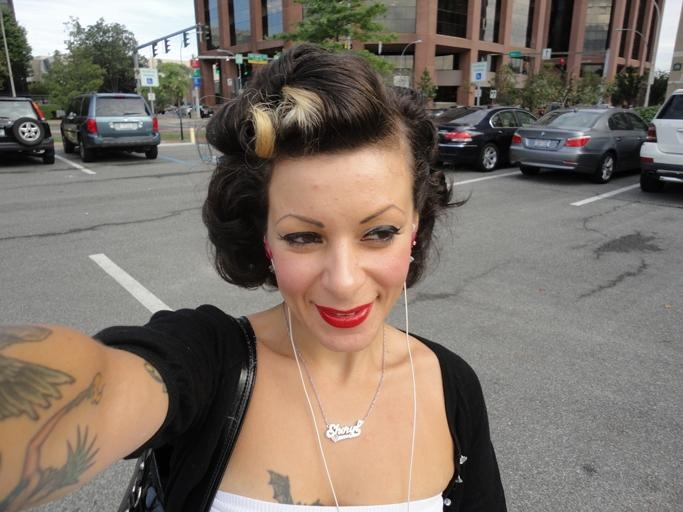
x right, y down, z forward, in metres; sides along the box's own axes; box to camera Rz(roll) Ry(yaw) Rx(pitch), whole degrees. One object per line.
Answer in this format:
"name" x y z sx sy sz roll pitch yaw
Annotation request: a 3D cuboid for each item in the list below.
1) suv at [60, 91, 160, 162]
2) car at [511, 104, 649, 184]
"suv" -7.972 -4.467 15.611 2.025 1.652 3.848 -7 23 -27
"car" 6.047 -2.769 11.378 3.818 1.303 1.730 -19 24 -38
